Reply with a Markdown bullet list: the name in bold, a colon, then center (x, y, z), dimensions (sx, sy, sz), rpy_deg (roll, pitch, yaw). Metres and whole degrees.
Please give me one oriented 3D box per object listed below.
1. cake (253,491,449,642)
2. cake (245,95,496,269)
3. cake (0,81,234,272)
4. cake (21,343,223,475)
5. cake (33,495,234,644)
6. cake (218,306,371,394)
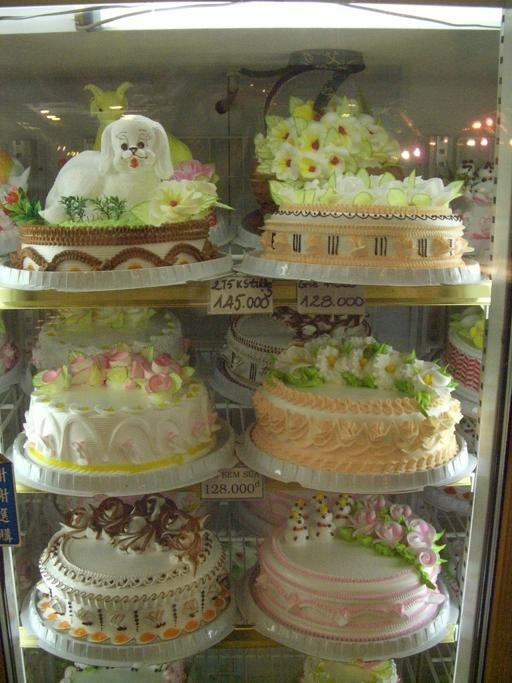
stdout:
- **cake**: center (0.327, 0.717, 1.903), dimensions (0.630, 0.326, 0.460), rpy_deg (-11, 12, -31)
- **cake**: center (0.327, -0.518, 1.831), dimensions (0.676, 0.600, 0.523), rpy_deg (-5, 11, 1)
- **cake**: center (-0.432, -0.428, 1.708), dimensions (0.617, 0.440, 0.256), rpy_deg (-5, 11, -1)
- **cake**: center (-0.410, 0.148, 1.820), dimensions (0.460, 0.180, 0.456), rpy_deg (13, 18, 36)
- **cake**: center (-0.398, 0.719, 1.841), dimensions (0.513, 0.256, 0.475), rpy_deg (1, 5, -1)
- **cake**: center (0.104, 0.003, 2.205), dimensions (0.412, 0.107, 0.391), rpy_deg (4, 17, 18)
